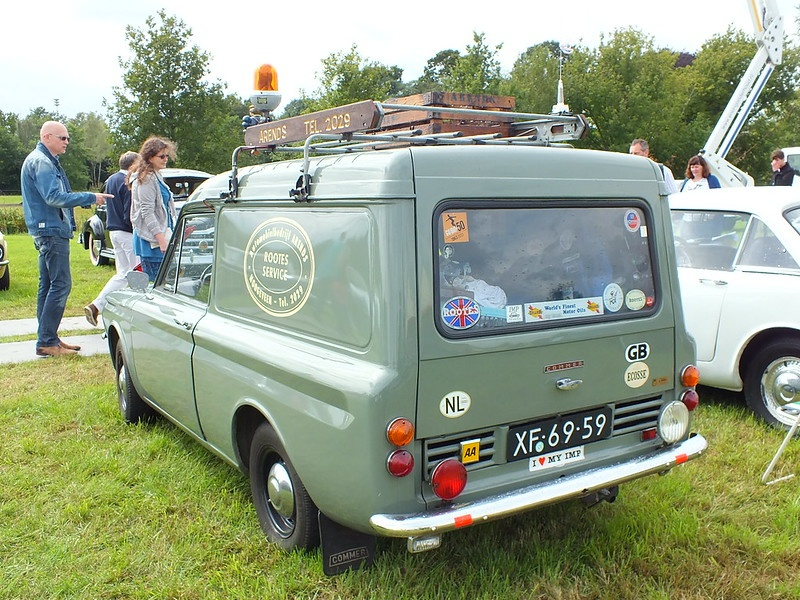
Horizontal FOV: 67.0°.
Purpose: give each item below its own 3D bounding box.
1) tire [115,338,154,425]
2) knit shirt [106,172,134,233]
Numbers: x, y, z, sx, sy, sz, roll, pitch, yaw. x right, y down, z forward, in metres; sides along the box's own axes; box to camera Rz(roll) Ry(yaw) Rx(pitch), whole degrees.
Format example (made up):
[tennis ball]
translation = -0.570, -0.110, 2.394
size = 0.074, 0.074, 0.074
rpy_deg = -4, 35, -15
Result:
[tire]
translation = -2.339, 0.726, 5.338
size = 0.245, 0.809, 0.714
rpy_deg = -3, 3, -31
[knit shirt]
translation = -3.703, -1.282, 7.982
size = 0.270, 0.675, 0.648
rpy_deg = -6, 16, -35
